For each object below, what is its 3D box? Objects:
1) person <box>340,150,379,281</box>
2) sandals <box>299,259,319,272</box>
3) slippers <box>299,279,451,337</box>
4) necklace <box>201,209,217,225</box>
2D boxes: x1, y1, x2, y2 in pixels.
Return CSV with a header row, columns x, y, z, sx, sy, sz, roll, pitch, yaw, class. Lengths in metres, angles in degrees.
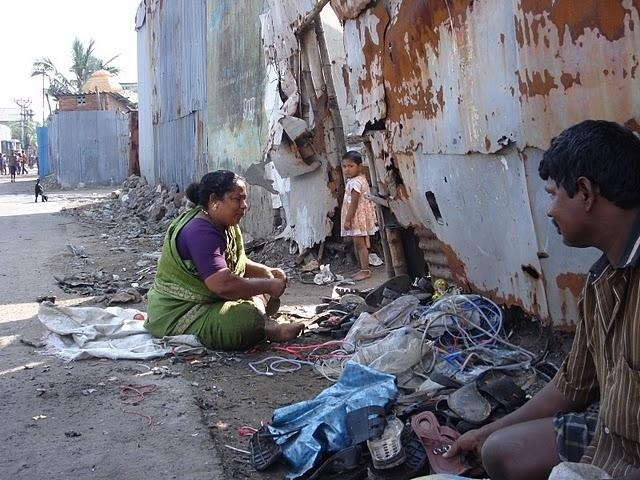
x,y,z,sx,sy,sz,roll,pitch,yaw,class
0.456,-0.319,5.853,0.463,1.599,0.583,-2,2,15,person
-0.148,0.356,6.370,0.217,0.107,0.147,-12,12,-11,sandals
0.349,0.591,4.145,0.886,0.296,0.555,-30,4,-13,slippers
-0.886,-0.187,3.826,0.097,0.115,0.084,-11,28,37,necklace
